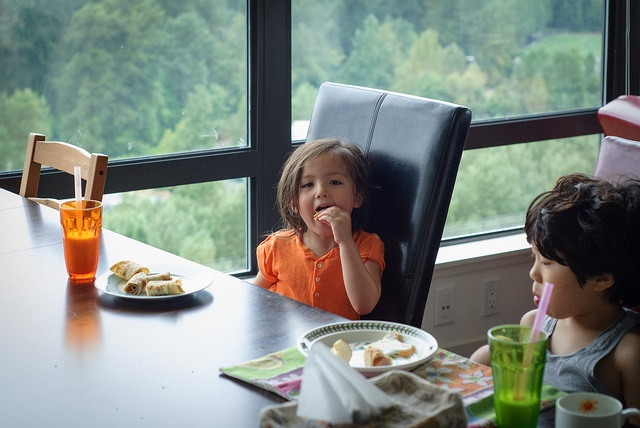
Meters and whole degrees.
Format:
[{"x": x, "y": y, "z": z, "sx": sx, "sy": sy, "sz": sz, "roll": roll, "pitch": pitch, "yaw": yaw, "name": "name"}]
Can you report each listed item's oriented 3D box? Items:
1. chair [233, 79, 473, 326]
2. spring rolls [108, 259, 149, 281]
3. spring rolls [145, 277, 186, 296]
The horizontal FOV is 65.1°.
[{"x": 0.123, "y": -0.120, "z": 1.714, "sx": 0.563, "sy": 0.995, "sz": 0.538, "roll": -5, "pitch": 16, "yaw": -41, "name": "chair"}, {"x": -0.435, "y": 0.116, "z": 1.143, "sx": 0.055, "sy": 0.021, "sz": 0.052, "roll": 1, "pitch": 21, "yaw": 0, "name": "spring rolls"}, {"x": -0.333, "y": 0.160, "z": 1.076, "sx": 0.061, "sy": 0.026, "sz": 0.039, "roll": -4, "pitch": 9, "yaw": -8, "name": "spring rolls"}]
